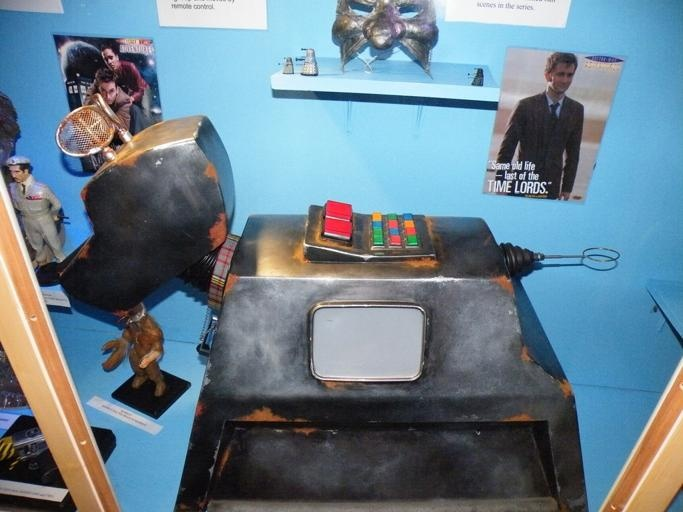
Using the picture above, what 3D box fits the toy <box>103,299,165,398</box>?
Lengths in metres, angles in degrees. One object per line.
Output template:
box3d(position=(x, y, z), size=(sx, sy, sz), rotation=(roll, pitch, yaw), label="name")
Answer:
box3d(position=(-0.636, 0.296, 1.577), size=(0.178, 0.284, 0.160), rotation=(24, 39, 15), label="toy")

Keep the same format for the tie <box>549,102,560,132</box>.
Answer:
box3d(position=(0.614, -0.407, 1.480), size=(0.033, 0.051, 0.012), rotation=(-2, 19, -12), label="tie")
